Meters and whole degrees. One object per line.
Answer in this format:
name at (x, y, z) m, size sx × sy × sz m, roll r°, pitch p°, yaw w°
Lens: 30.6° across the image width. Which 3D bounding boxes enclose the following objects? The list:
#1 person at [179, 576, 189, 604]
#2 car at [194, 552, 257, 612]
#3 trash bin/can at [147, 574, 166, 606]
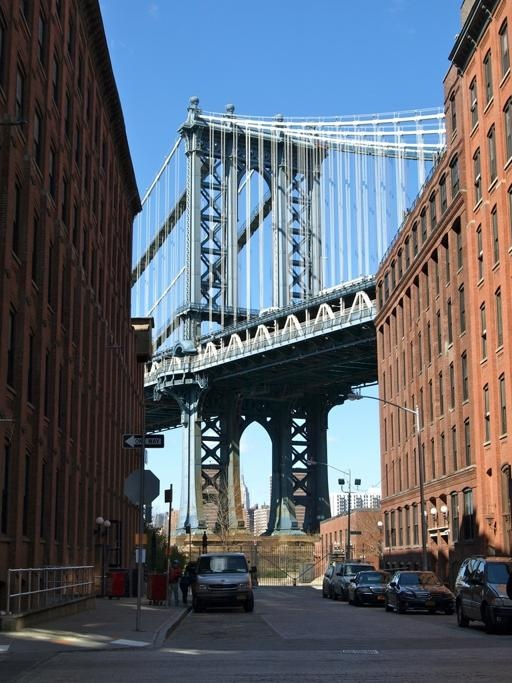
person at (-2.235, 7.798, 29.175) m, size 0.256 × 0.938 × 1.086 m, roll 1°, pitch -17°, yaw -4°
car at (-0.907, 6.627, 25.699) m, size 1.603 × 1.688 × 1.732 m, roll 1°, pitch -17°, yaw -4°
trash bin/can at (-2.802, 7.130, 26.762) m, size 0.454 × 0.834 × 1.561 m, roll 2°, pitch -19°, yaw -9°
